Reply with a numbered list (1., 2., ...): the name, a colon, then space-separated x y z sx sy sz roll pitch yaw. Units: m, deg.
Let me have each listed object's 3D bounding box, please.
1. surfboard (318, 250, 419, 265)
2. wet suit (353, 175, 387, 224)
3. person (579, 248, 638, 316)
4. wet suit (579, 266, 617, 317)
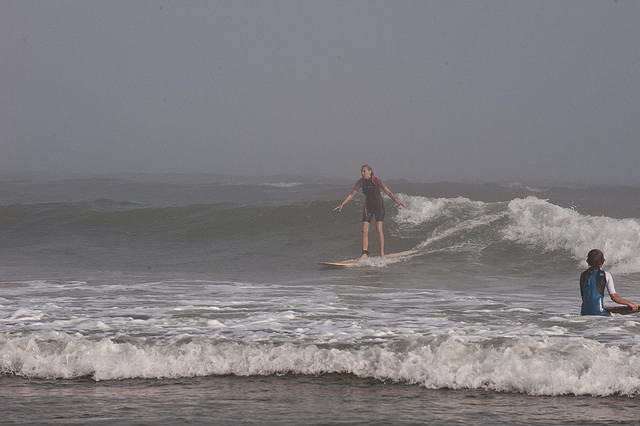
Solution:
1. surfboard: 1.229 1.108 22.185 2.252 0.112 0.288 -4 3 -38
2. wet suit: 1.105 -0.325 20.090 0.662 1.167 0.787 1 13 3
3. person: 4.102 1.013 12.949 0.675 1.036 0.432 3 14 15
4. wet suit: 3.990 1.127 12.978 0.462 0.800 0.377 3 13 14
